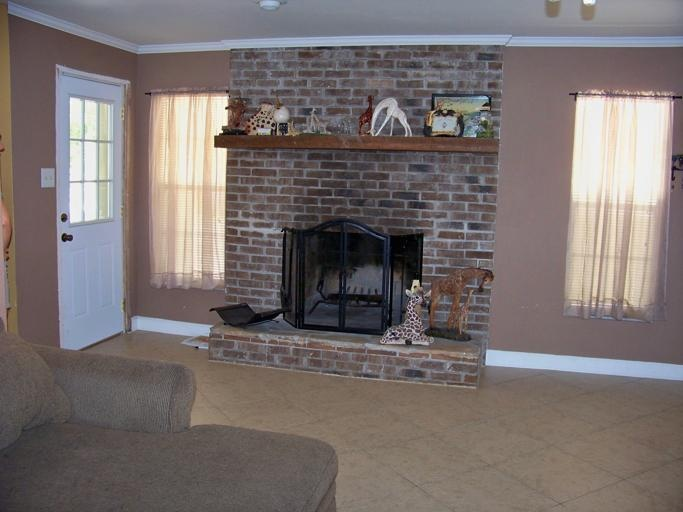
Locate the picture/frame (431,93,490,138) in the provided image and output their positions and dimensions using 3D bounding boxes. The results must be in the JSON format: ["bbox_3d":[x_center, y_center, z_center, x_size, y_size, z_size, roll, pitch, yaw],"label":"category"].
[{"bbox_3d":[1.046,-1.258,4.932,0.574,0.368,0.312,5,29,17],"label":"picture/frame"}]

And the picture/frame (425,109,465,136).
[{"bbox_3d":[0.866,-1.111,4.761,0.286,0.228,0.200,-5,14,-27],"label":"picture/frame"}]
